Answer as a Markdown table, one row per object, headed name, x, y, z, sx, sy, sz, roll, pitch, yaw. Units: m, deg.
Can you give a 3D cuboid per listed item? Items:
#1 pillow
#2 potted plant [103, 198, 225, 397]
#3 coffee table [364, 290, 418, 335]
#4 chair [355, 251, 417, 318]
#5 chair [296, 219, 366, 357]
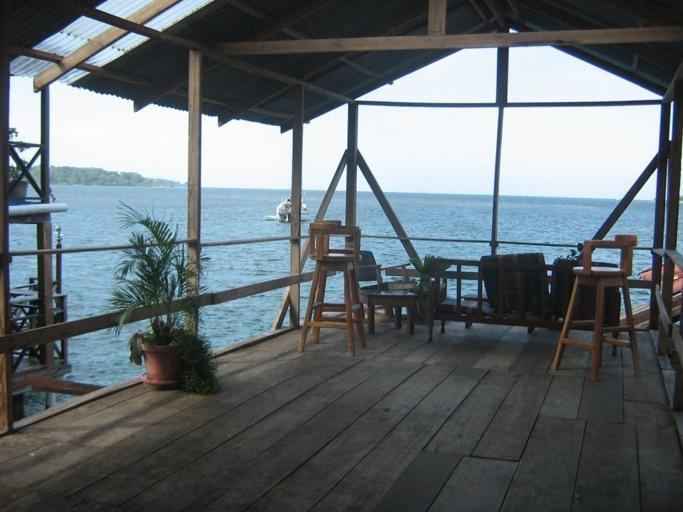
| name | x | y | z | sx | sy | sz | roll | pitch | yaw |
| --- | --- | --- | --- | --- | --- | --- | --- | --- | --- |
| pillow | 2.121 | 0.291 | 5.775 | 1.146 | 0.653 | 0.743 | 4 | 4 | 31 |
| potted plant | -1.415 | 0.346 | 4.503 | 0.803 | 1.369 | 0.764 | -1 | 9 | -15 |
| coffee table | 0.494 | 0.655 | 6.450 | 0.783 | 0.425 | 0.779 | 0 | -1 | 32 |
| chair | 0.386 | 0.353 | 7.226 | 0.792 | 0.918 | 0.801 | -5 | 0 | 40 |
| chair | -0.074 | 0.288 | 5.613 | 0.512 | 1.126 | 0.534 | 1 | -1 | 12 |
